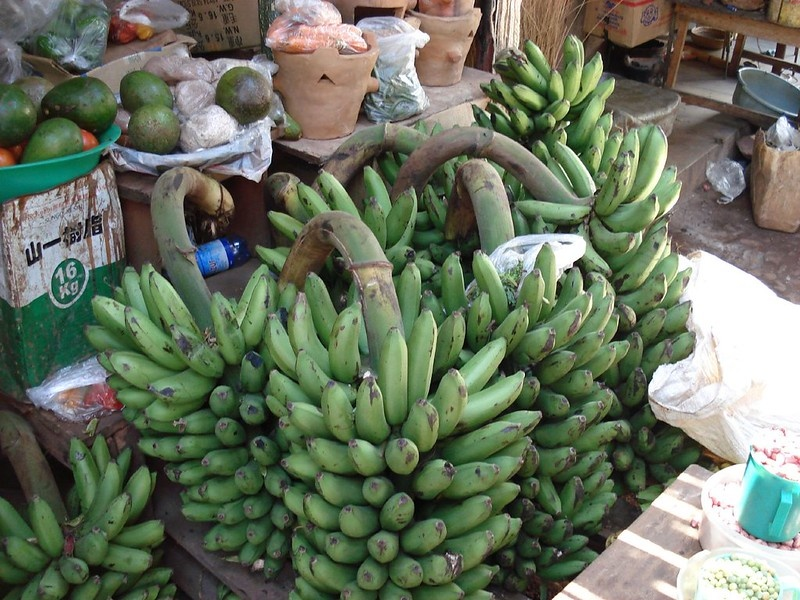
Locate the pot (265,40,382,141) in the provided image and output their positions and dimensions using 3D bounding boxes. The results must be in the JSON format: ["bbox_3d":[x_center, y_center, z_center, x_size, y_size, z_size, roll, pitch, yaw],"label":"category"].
[{"bbox_3d":[-0.427,-1.259,3.698,0.574,0.548,0.558,1,41,-1],"label":"pot"}]

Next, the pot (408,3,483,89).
[{"bbox_3d":[0.285,-1.937,4.548,0.455,0.548,0.532,30,48,30],"label":"pot"}]

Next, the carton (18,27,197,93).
[{"bbox_3d":[-1.662,-1.416,3.615,0.692,0.261,0.426,-29,40,-31],"label":"carton"}]

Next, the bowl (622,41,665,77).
[{"bbox_3d":[2.713,-2.709,6.992,0.350,0.334,0.429,-8,33,-10],"label":"bowl"}]

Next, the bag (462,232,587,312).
[{"bbox_3d":[0.495,-0.177,2.234,0.331,0.134,0.256,-38,39,-17],"label":"bag"}]

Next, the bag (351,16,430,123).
[{"bbox_3d":[-0.006,-1.537,4.108,0.505,0.671,0.462,-30,46,-32],"label":"bag"}]

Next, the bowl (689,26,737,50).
[{"bbox_3d":[3.906,-3.304,7.822,0.361,0.158,0.410,1,29,-8],"label":"bowl"}]
